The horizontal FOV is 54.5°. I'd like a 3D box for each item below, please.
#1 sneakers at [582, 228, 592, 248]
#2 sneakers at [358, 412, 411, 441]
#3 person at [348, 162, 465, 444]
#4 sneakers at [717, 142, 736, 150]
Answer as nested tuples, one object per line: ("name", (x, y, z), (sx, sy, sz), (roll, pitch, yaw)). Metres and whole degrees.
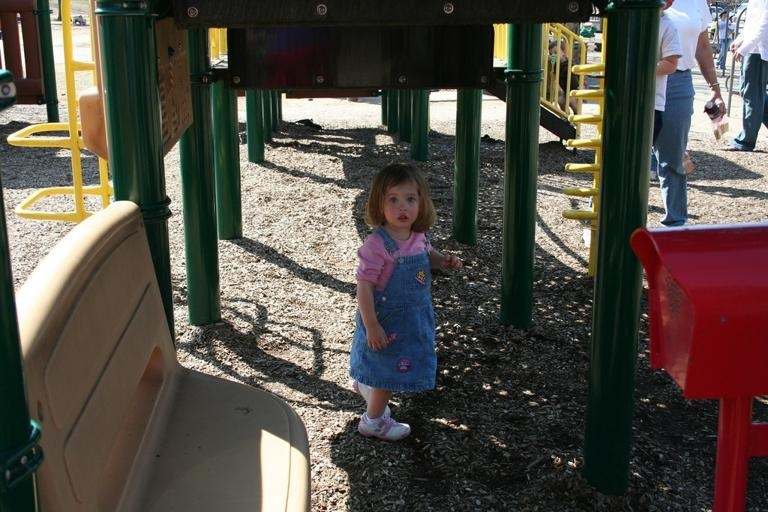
("sneakers", (1.433, -0.151, 5.283), (0.056, 0.072, 0.447), (4, 21, 11))
("sneakers", (0.003, 0.667, 2.949), (0.193, 0.103, 0.088), (4, 13, -5))
("person", (0.061, 0.177, 2.900), (0.353, 1.014, 0.400), (11, 21, 32))
("sneakers", (3.946, -1.257, 8.589), (0.101, 0.083, 0.193), (1, 9, 14))
